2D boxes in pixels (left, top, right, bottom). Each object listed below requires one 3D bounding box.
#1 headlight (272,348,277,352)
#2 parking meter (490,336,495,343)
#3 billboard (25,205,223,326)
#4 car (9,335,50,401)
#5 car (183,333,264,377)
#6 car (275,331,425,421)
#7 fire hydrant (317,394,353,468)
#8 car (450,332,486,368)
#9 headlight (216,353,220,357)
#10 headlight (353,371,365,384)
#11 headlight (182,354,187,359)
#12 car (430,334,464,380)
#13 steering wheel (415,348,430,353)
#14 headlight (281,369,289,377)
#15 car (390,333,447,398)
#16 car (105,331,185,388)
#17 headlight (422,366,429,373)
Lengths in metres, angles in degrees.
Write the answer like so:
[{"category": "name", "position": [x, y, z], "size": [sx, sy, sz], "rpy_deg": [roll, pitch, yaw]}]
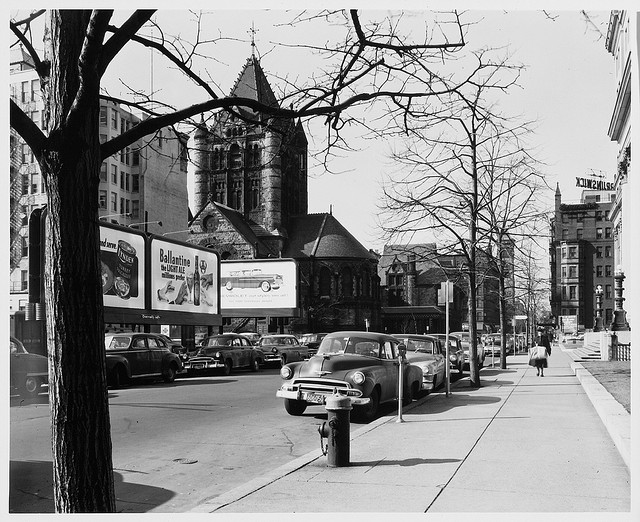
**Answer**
[{"category": "headlight", "position": [-1.919, 3.603, 36.868], "size": [0.124, 0.156, 0.205], "rpy_deg": [-1, -6, 3]}, {"category": "parking meter", "position": [9.547, 4.355, 50.704], "size": [0.184, 0.315, 0.352], "rpy_deg": [-3, 2, 17]}, {"category": "billboard", "position": [-6.311, 0.602, 31.945], "size": [0.876, 3.351, 12.254], "rpy_deg": [0, -5, 17]}, {"category": "car", "position": [-6.929, 2.532, 21.527], "size": [0.839, 1.446, 1.541], "rpy_deg": [1, -6, -19]}, {"category": "car", "position": [-3.511, 3.302, 31.896], "size": [1.095, 0.994, 2.789], "rpy_deg": [-4, -9, 17]}, {"category": "car", "position": [0.785, 2.191, 17.561], "size": [1.431, 1.090, 2.581], "rpy_deg": [-3, -10, 26]}, {"category": "fire hydrant", "position": [0.187, 2.218, 11.837], "size": [0.395, 0.867, 0.523], "rpy_deg": [-1, -6, -2]}, {"category": "car", "position": [5.705, 3.356, 35.278], "size": [1.384, 1.308, 3.653], "rpy_deg": [-1, -8, 12]}, {"category": "headlight", "position": [-3.515, 3.177, 30.714], "size": [0.084, 0.129, 0.032], "rpy_deg": [-1, -2, 9]}, {"category": "headlight", "position": [0.668, 2.088, 16.273], "size": [0.203, 0.213, 0.144], "rpy_deg": [-1, -6, 2]}, {"category": "headlight", "position": [-4.611, 3.215, 30.647], "size": [0.150, 0.157, 0.517], "rpy_deg": [1, -7, -16]}, {"category": "car", "position": [3.988, 2.991, 28.529], "size": [0.952, 0.844, 1.736], "rpy_deg": [-1, -11, 11]}, {"category": "steering wheel", "position": [2.501, 2.198, 22.483], "size": [0.306, 0.099, 0.138], "rpy_deg": [-2, -6, 6]}, {"category": "headlight", "position": [-0.687, 2.105, 17.096], "size": [0.142, 0.142, 0.092], "rpy_deg": [3, -7, -36]}, {"category": "car", "position": [2.451, 2.356, 21.891], "size": [0.997, 0.809, 1.740], "rpy_deg": [-3, -9, 21]}, {"category": "car", "position": [-5.424, 2.777, 25.655], "size": [1.373, 1.494, 4.076], "rpy_deg": [-7, -6, 25]}, {"category": "headlight", "position": [2.411, 2.501, 21.018], "size": [0.144, 0.144, 0.120], "rpy_deg": [-2, -6, 5]}]
